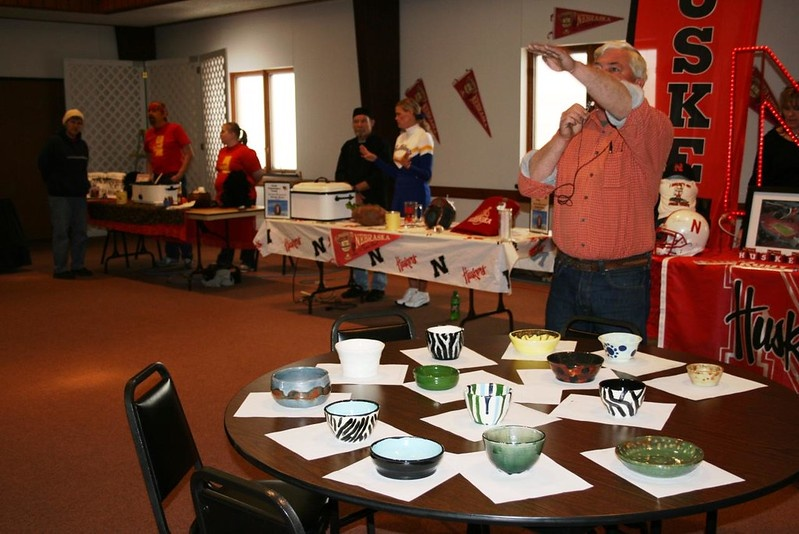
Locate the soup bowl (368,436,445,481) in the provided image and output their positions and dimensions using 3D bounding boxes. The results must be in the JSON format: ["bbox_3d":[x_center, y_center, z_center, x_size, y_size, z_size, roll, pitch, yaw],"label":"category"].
[{"bbox_3d":[0.018,0.512,1.517,0.204,0.063,0.153,3,12,15],"label":"soup bowl"}]

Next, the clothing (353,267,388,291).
[{"bbox_3d":[-0.324,0.146,6.027,0.290,0.250,0.108,0,7,3],"label":"clothing"}]

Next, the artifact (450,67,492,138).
[{"bbox_3d":[0.993,-2.194,7.469,0.356,0.963,0.088,-38,-14,32],"label":"artifact"}]

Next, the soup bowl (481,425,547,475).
[{"bbox_3d":[0.314,0.486,1.527,0.157,0.099,0.166,-1,12,0],"label":"soup bowl"}]

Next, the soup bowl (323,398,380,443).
[{"bbox_3d":[-0.152,0.450,1.688,0.157,0.086,0.157,6,17,-2],"label":"soup bowl"}]

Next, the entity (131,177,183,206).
[{"bbox_3d":[-3.184,-0.944,7.303,0.348,0.164,0.491,2,2,21],"label":"entity"}]

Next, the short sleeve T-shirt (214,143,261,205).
[{"bbox_3d":[-2.094,-1.165,7.054,0.703,0.716,0.464,4,10,35],"label":"short sleeve T-shirt"}]

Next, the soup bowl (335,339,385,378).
[{"bbox_3d":[-0.151,0.349,2.121,0.191,0.107,0.189,0,7,0],"label":"soup bowl"}]

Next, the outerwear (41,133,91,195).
[{"bbox_3d":[-4.262,-1.268,7.092,0.553,0.828,0.266,-8,14,-31],"label":"outerwear"}]

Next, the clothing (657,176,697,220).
[{"bbox_3d":[1.882,-0.454,3.777,0.286,0.308,0.185,3,10,16],"label":"clothing"}]

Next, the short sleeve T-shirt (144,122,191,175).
[{"bbox_3d":[-3.211,-1.589,7.674,0.730,0.670,0.401,-1,14,15],"label":"short sleeve T-shirt"}]

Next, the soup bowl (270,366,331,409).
[{"bbox_3d":[-0.343,0.410,1.909,0.183,0.083,0.187,2,10,0],"label":"soup bowl"}]

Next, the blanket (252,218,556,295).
[{"bbox_3d":[-0.014,-0.121,4.918,1.933,0.264,1.075,7,15,34],"label":"blanket"}]

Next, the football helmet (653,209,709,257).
[{"bbox_3d":[1.793,-0.209,3.521,0.354,0.269,0.249,-4,17,16],"label":"football helmet"}]

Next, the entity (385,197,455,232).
[{"bbox_3d":[0.245,-0.437,4.911,0.430,0.217,0.331,4,4,5],"label":"entity"}]

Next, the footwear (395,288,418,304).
[{"bbox_3d":[0.082,0.326,5.951,0.315,0.129,0.106,-15,-6,27],"label":"footwear"}]

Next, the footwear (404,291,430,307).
[{"bbox_3d":[0.211,0.356,5.869,0.318,0.128,0.113,-6,8,-44],"label":"footwear"}]

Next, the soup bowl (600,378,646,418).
[{"bbox_3d":[0.714,0.409,1.782,0.127,0.079,0.122,-1,0,0],"label":"soup bowl"}]

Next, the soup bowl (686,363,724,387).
[{"bbox_3d":[1.073,0.369,1.947,0.091,0.041,0.087,-1,-1,0],"label":"soup bowl"}]

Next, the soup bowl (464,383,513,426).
[{"bbox_3d":[0.279,0.425,1.757,0.127,0.080,0.122,0,-4,0],"label":"soup bowl"}]

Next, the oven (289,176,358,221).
[{"bbox_3d":[-0.774,-0.665,5.672,0.586,0.348,0.440,8,14,40],"label":"oven"}]

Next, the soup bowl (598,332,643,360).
[{"bbox_3d":[0.857,0.302,2.179,0.120,0.058,0.115,-3,6,0],"label":"soup bowl"}]

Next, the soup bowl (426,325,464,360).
[{"bbox_3d":[0.182,0.297,2.232,0.143,0.096,0.131,-2,0,0],"label":"soup bowl"}]
